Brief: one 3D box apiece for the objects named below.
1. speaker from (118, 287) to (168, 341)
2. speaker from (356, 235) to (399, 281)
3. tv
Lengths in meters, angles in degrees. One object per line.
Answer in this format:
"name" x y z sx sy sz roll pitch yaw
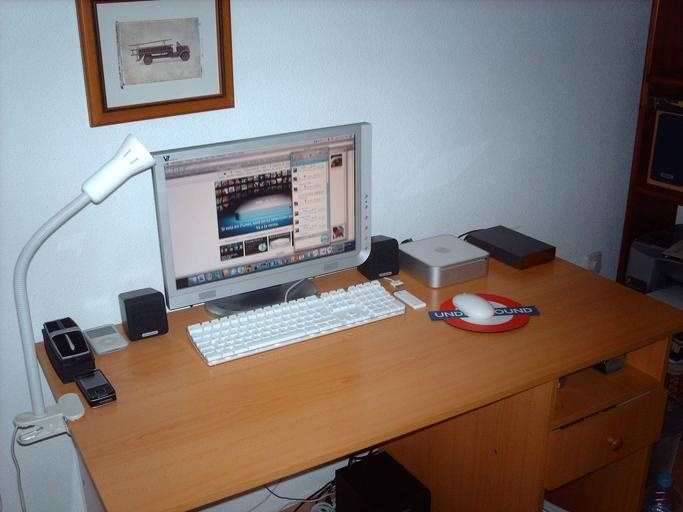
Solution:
"speaker" -0.567 0.145 1.646 0.136 0.142 0.134 -11 19 -28
"speaker" 0.115 0.001 1.859 0.106 0.146 0.081 -14 27 -32
"tv" -0.261 -0.123 1.652 0.532 0.416 0.141 -13 23 -27
